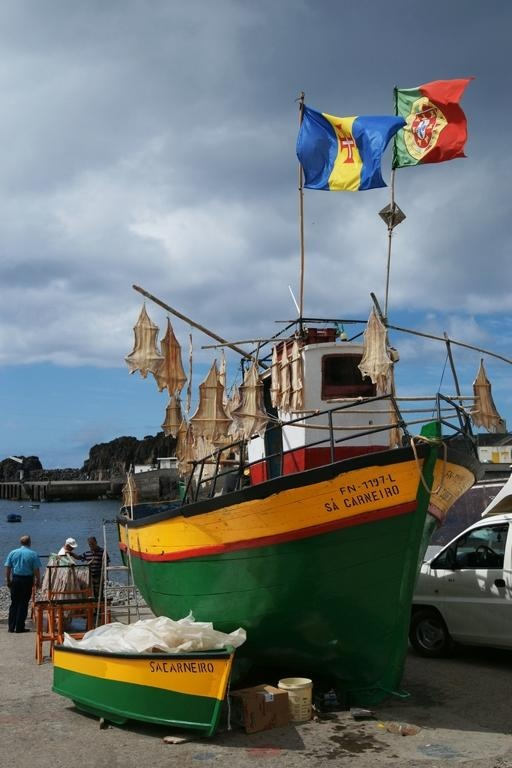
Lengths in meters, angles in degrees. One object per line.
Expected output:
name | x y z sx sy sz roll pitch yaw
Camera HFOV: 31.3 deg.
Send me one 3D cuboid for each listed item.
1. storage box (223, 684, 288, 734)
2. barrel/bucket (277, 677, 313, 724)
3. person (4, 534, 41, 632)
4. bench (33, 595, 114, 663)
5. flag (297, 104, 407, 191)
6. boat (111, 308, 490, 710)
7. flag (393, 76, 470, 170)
storage box | 0.055 3.075 8.645 0.465 0.379 0.603 -2 -15 8
barrel/bucket | 0.379 3.007 8.682 0.327 0.300 0.324 -1 -11 0
person | -3.353 2.927 13.187 0.446 1.575 1.127 -1 7 -14
bench | -2.290 3.149 11.728 0.725 0.795 0.863 -1 -13 -24
flag | 1.308 -3.443 13.421 1.549 1.228 0.317 5 7 29
boat | 0.316 1.142 10.928 3.116 3.791 4.758 0 6 -12
flag | 2.431 -3.692 12.994 1.231 1.164 0.343 6 8 40
